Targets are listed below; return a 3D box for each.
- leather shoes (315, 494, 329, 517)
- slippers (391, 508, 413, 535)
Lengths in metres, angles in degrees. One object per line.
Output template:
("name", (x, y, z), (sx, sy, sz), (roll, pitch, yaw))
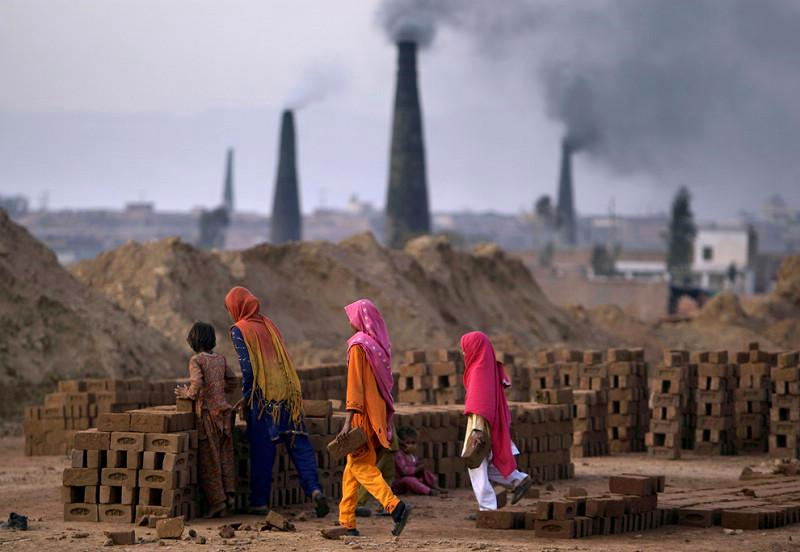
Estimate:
("leather shoes", (-2.055, 5.889, 50.680), (0.248, 0.702, 0.268), (-12, 26, -13))
("slippers", (-0.003, 6.129, 49.940), (0.377, 0.923, 0.306), (9, 23, -2))
